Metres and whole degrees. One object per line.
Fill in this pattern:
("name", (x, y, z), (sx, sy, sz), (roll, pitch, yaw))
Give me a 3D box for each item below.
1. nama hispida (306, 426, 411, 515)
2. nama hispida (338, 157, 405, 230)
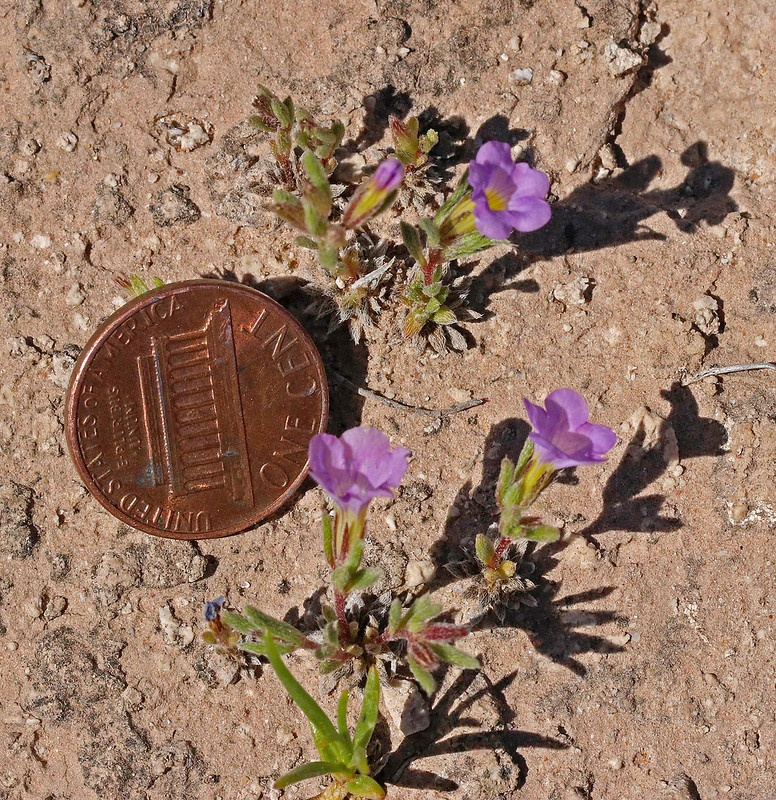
("nama hispida", (-0.105, 0.333, 4.954), (0.398, 0.362, 0.218), (42, 118, 26))
("nama hispida", (-0.069, -0.890, 4.917), (0.157, 0.441, 0.135), (43, 63, 2))
